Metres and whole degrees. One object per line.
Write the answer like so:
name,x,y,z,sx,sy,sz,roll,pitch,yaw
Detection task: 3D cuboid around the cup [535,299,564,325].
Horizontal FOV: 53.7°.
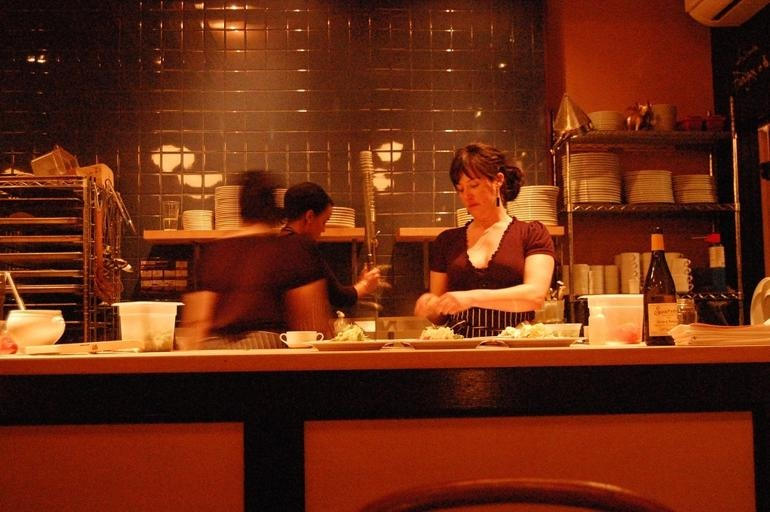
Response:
cup,0.874,0.301,4.021,0.193,0.172,0.134,0,-4,-1

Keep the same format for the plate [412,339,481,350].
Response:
plate,0.236,0.344,2.987,0.276,0.041,0.065,-2,2,-3

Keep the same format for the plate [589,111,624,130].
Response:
plate,1.474,-0.899,5.066,0.170,0.092,0.166,3,5,20

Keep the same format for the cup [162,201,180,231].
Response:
cup,-1.489,-0.288,5.253,0.127,0.211,0.362,-3,3,-16

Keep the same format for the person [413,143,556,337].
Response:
person,0.554,-0.093,3.930,0.667,1.015,0.810,-2,2,3

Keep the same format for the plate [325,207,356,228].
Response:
plate,-0.303,-0.255,5.093,0.156,0.079,0.147,1,-3,-13

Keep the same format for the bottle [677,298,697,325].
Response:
bottle,1.271,0.229,3.202,0.064,0.101,0.299,-2,3,23

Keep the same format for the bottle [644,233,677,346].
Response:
bottle,1.091,0.123,3.024,0.134,0.455,0.183,-2,3,20

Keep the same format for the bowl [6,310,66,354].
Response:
bowl,-1.447,0.308,3.129,0.184,0.123,0.171,1,-6,0

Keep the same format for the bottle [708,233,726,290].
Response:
bottle,2.217,0.037,5.083,0.113,0.380,0.521,-2,3,24
